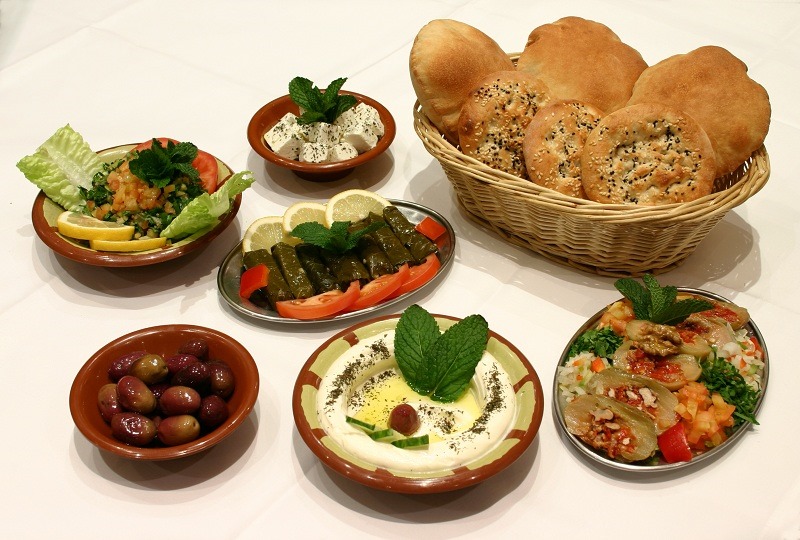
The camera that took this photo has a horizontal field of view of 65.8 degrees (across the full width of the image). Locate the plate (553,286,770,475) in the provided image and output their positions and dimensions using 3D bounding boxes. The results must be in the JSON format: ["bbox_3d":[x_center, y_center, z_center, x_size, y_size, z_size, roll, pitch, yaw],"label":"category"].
[{"bbox_3d":[1.024,0.386,2.369,0.860,0.289,0.655,-4,48,-4],"label":"plate"}]

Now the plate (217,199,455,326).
[{"bbox_3d":[-0.263,0.044,2.892,0.860,0.126,0.635,-27,48,-19],"label":"plate"}]

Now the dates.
[{"bbox_3d":[-0.888,0.456,2.339,0.502,0.180,0.417,-1,48,-1],"label":"dates"}]

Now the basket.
[{"bbox_3d":[0.780,-0.254,2.792,1.470,0.547,0.438,14,49,12],"label":"basket"}]

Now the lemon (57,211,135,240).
[{"bbox_3d":[-1.440,-0.200,2.897,0.279,0.073,0.143,12,34,4],"label":"lemon"}]

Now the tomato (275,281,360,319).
[{"bbox_3d":[-0.349,0.150,2.761,0.388,0.082,0.175,-11,24,-15],"label":"tomato"}]

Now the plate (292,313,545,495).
[{"bbox_3d":[0.066,0.534,2.396,0.904,0.269,0.742,19,51,16],"label":"plate"}]
